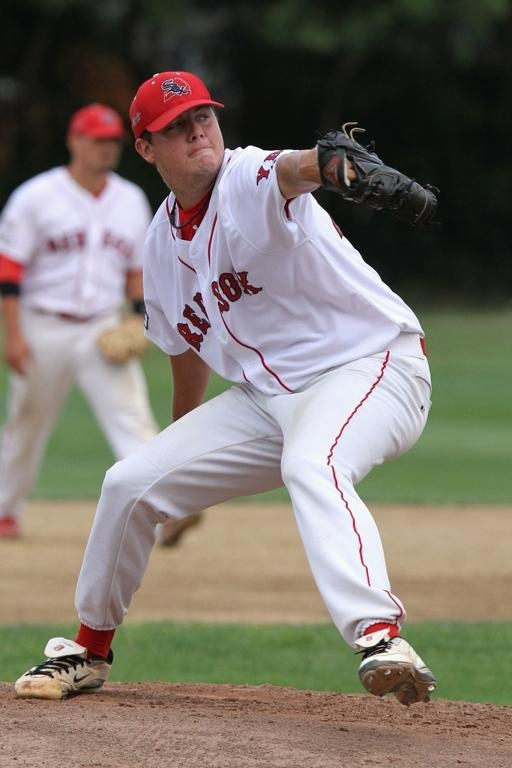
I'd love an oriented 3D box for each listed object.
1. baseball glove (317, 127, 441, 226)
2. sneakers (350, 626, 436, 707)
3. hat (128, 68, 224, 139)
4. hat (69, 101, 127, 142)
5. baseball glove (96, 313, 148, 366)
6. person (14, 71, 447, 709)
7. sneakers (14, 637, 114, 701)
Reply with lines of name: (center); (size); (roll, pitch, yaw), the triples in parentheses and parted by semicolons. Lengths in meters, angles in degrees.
baseball glove: (0.237, -0.456, 1.923); (0.237, 0.102, 0.183); (31, -6, 36)
sneakers: (0.276, 0.586, 1.930); (0.095, 0.121, 0.234); (-32, -52, 24)
hat: (-0.231, -0.725, 2.411); (0.170, 0.121, 0.224); (-25, 3, -33)
hat: (-0.835, -1.323, 4.715); (0.294, 0.145, 0.217); (-6, -1, 40)
baseball glove: (-0.649, -0.211, 4.419); (0.283, 0.201, 0.120); (-21, -50, 35)
person: (0.007, -0.002, 2.329); (0.672, 1.655, 1.199); (14, -15, -37)
sneakers: (-0.510, 0.773, 2.554); (0.113, 0.114, 0.304); (3, -2, 37)
